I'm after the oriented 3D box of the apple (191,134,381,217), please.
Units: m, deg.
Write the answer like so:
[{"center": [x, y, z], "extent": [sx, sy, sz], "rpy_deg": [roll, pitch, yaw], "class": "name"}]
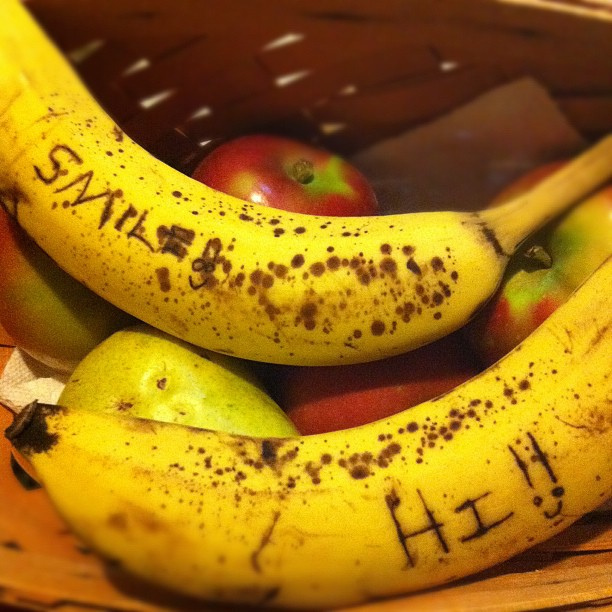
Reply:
[{"center": [-0.019, -0.164, 0.968], "extent": [0.174, 0.210, 0.100], "rpy_deg": [-1, 93, 22], "class": "apple"}]
